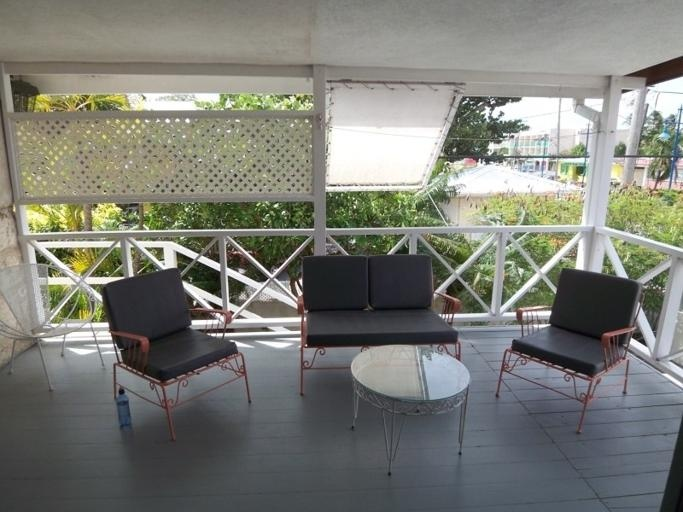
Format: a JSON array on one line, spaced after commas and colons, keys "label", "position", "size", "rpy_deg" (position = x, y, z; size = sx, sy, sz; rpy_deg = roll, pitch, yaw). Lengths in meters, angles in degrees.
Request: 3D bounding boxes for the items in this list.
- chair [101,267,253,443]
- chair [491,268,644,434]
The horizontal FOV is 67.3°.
[{"label": "chair", "position": [-1.580, 0.848, 4.858], "size": [1.033, 1.218, 0.973], "rpy_deg": [16, 20, 37]}, {"label": "chair", "position": [2.045, 0.810, 5.343], "size": [1.542, 1.678, 1.264], "rpy_deg": [-13, 17, -40]}]
